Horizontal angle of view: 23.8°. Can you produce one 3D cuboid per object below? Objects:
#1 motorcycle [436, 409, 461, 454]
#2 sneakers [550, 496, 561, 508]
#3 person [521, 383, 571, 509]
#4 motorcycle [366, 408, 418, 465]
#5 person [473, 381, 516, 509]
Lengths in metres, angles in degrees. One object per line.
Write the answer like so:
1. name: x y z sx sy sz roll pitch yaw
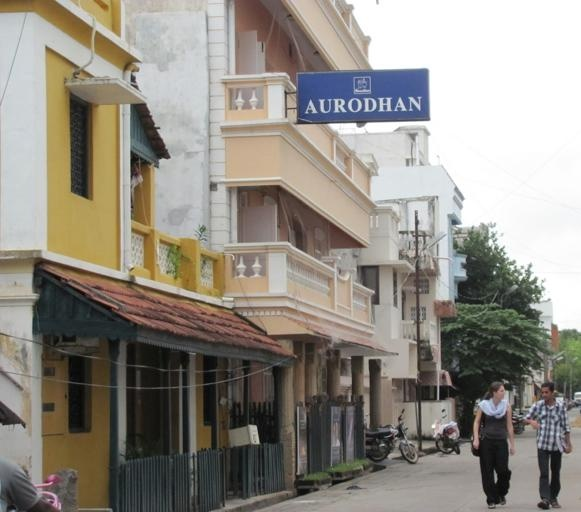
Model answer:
1. motorcycle: 4.739 5.605 41.872 0.745 1.032 1.454 -7 -14 13
2. sneakers: 4.063 3.811 21.072 0.085 0.134 0.287 -2 -17 1
3. person: 3.990 2.955 21.165 0.671 1.926 1.165 -4 -13 11
4. motorcycle: 2.458 4.836 35.424 0.786 1.117 1.574 -7 -12 42
5. person: 3.127 2.918 21.178 0.621 1.942 0.530 -3 -12 7
